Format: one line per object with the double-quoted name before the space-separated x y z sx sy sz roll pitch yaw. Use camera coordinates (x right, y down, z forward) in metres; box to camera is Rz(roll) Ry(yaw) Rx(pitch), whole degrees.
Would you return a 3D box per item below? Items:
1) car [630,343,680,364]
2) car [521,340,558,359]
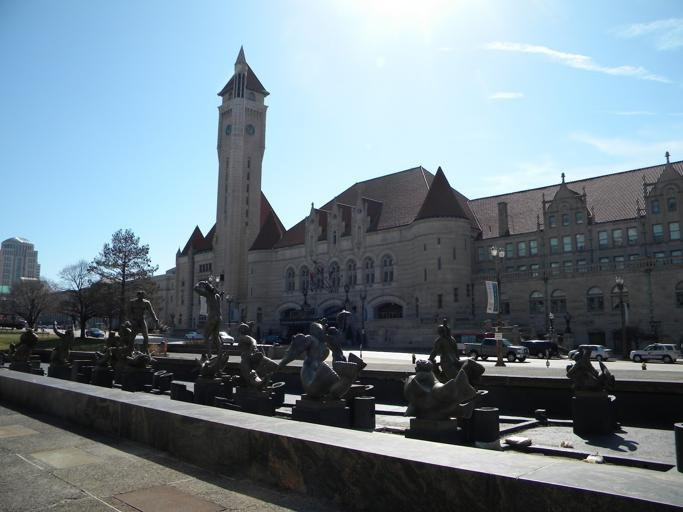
"car" 20.328 6.223 38.020 2.194 1.134 2.587 6 -7 -32
"car" 14.569 6.773 43.709 2.370 1.217 1.363 5 -3 44
